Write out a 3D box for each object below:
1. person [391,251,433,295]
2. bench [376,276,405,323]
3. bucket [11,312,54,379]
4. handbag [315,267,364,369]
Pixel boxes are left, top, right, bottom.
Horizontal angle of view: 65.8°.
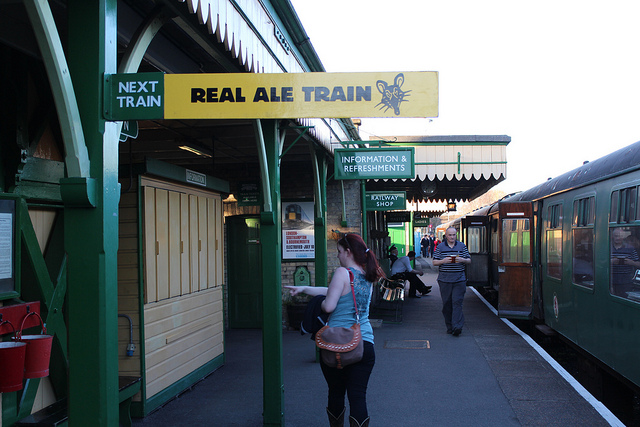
[{"bbox_3d":[2.832,1.832,15.777,1.686,1.341,0.669,6,-1,-24],"label":"person"},{"bbox_3d":[1.970,2.216,14.029,0.705,0.621,1.890,-8,-40,14],"label":"bench"},{"bbox_3d":[-2.655,1.219,4.590,0.453,0.579,0.473,-6,-5,-1],"label":"bucket"},{"bbox_3d":[0.192,1.022,4.885,0.434,1.075,0.273,-1,-31,4],"label":"handbag"}]
